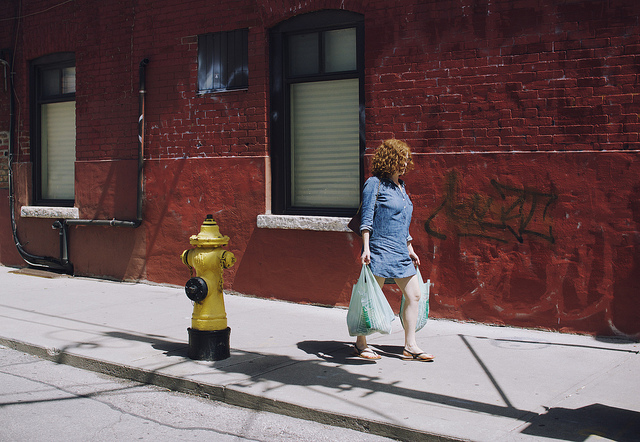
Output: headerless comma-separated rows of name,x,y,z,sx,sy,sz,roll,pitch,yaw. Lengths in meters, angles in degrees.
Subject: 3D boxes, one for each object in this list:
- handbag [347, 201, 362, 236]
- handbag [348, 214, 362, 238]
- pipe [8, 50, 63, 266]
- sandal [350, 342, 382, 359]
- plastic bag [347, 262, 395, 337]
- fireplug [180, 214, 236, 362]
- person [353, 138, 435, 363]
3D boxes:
handbag,0.408,-0.030,6.270,0.200,0.312,0.075,-2,12,-42
handbag,0.405,0.046,6.289,0.155,0.249,0.371,0,7,3
pipe,-6.081,-1.389,11.328,0.730,4.494,1.970,-6,9,-36
sandal,0.525,1.533,6.400,0.338,0.078,0.134,2,6,36
plastic bag,0.560,0.894,6.071,0.518,0.888,0.243,1,7,9
fireplug,-1.274,0.761,6.293,0.563,1.650,0.462,-2,8,-15
person,0.903,0.322,6.596,0.889,2.583,1.333,1,7,10
